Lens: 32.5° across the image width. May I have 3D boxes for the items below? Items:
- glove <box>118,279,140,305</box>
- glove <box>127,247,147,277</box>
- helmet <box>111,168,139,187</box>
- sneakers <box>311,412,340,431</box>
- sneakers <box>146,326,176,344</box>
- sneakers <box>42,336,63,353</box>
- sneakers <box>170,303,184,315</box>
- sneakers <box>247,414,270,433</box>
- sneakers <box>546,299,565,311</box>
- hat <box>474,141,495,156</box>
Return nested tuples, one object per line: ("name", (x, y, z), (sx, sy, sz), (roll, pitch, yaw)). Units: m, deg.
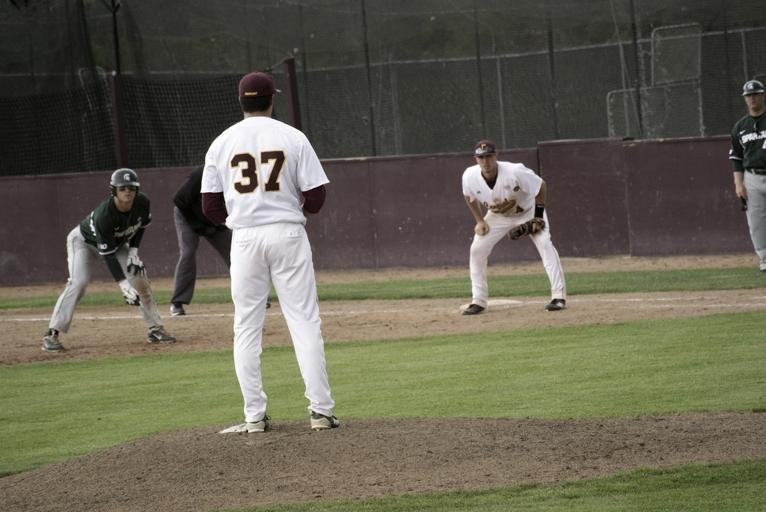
("glove", (-3.788, 0.512, 19.641), (0.265, 0.411, 0.326), (-5, 5, -8))
("glove", (-3.814, 0.091, 19.885), (0.150, 0.405, 0.330), (-5, 32, 49))
("helmet", (-3.845, -1.164, 19.423), (0.331, 0.206, 0.439), (-1, 1, -22))
("sneakers", (-0.758, 2.080, 16.572), (0.422, 0.183, 0.156), (-1, 21, -16))
("sneakers", (-3.465, 1.210, 20.350), (0.489, 0.262, 0.196), (0, 6, -3))
("sneakers", (-5.128, 1.328, 20.197), (0.429, 0.184, 0.171), (1, 2, 36))
("sneakers", (-3.504, 0.875, 22.231), (0.116, 0.222, 0.333), (5, 12, 4))
("sneakers", (-1.583, 2.107, 16.620), (0.332, 0.205, 0.206), (-6, 5, -22))
("sneakers", (2.725, 0.746, 20.890), (0.322, 0.173, 0.296), (-3, 5, 6))
("hat", (1.584, -1.707, 20.518), (0.291, 0.231, 0.352), (-4, 5, 1))
